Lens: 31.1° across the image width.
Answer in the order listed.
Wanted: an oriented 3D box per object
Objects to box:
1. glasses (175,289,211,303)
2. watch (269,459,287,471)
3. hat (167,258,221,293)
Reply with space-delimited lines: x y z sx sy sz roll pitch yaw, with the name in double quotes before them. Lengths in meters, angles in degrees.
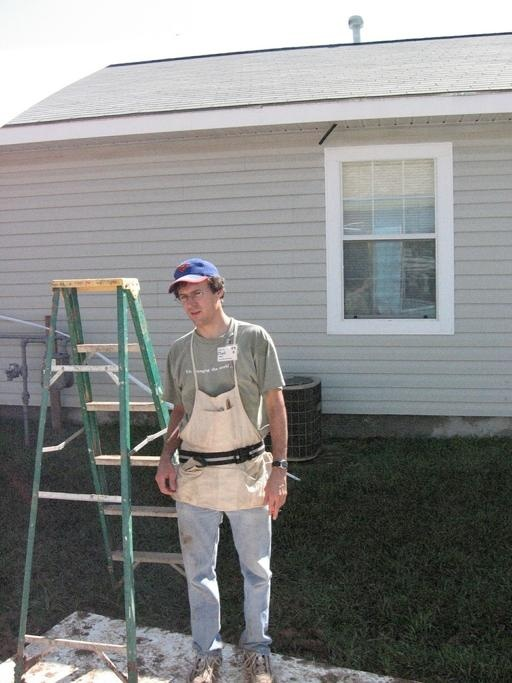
"glasses" -0.354 -0.238 4.754 0.209 0.066 0.077 10 18 43
"watch" 0.105 0.627 4.683 0.071 0.042 0.074 -1 -4 12
"hat" -0.305 -0.357 4.823 0.178 0.121 0.254 -16 -10 26
